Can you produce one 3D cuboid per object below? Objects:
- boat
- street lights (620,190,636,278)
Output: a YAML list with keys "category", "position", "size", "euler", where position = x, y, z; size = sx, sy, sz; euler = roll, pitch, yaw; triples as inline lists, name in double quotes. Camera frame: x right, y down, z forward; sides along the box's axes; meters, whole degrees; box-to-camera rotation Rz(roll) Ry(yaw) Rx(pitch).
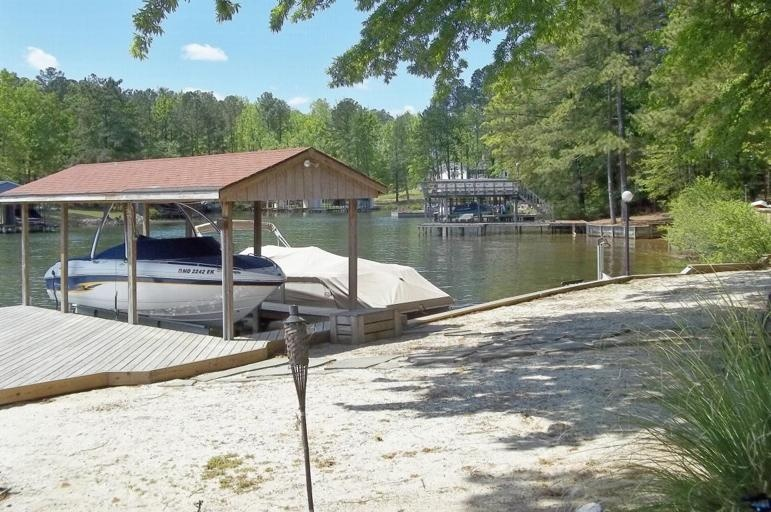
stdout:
- category: "boat"
  position: [-5.440, 0.288, 18.471]
  size: [6.650, 2.849, 2.773]
  euler: [3, 2, 26]
- category: "street lights"
  position: [7.706, -0.753, 23.837]
  size: [0.585, 2.725, 0.548]
  euler: [-2, 0, 13]
